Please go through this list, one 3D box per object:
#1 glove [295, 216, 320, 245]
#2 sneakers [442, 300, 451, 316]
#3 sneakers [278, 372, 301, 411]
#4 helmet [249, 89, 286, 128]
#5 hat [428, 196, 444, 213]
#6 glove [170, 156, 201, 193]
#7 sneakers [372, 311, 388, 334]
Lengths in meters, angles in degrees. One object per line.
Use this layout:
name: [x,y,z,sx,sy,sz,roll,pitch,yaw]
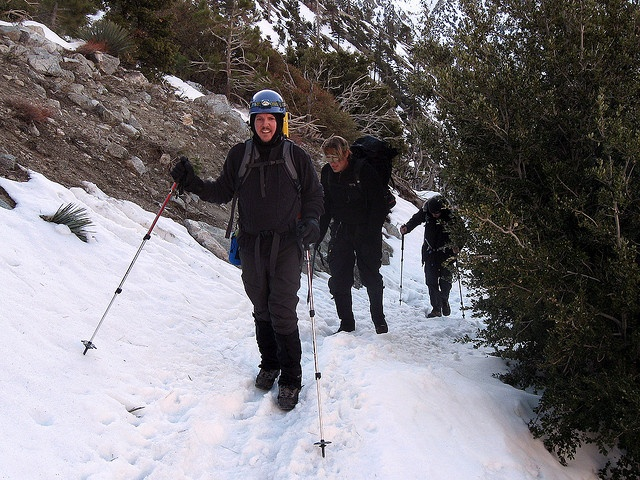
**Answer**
glove: [-0.126,-0.085,5.609,0.217,0.295,0.150,2,-5,-3]
sneakers: [2.131,1.156,9.185,0.105,0.324,0.131,-4,-8,27]
sneakers: [-0.307,1.581,5.659,0.272,0.390,0.219,3,-6,-18]
helmet: [-0.548,-1.379,5.586,0.303,0.362,0.368,1,28,-5]
hat: [1.707,-0.526,7.987,0.203,0.316,0.245,5,1,2]
glove: [-1.410,-0.684,5.676,0.248,0.374,0.127,-11,9,-16]
sneakers: [0.785,1.096,7.159,0.167,0.315,0.114,-10,-7,4]
